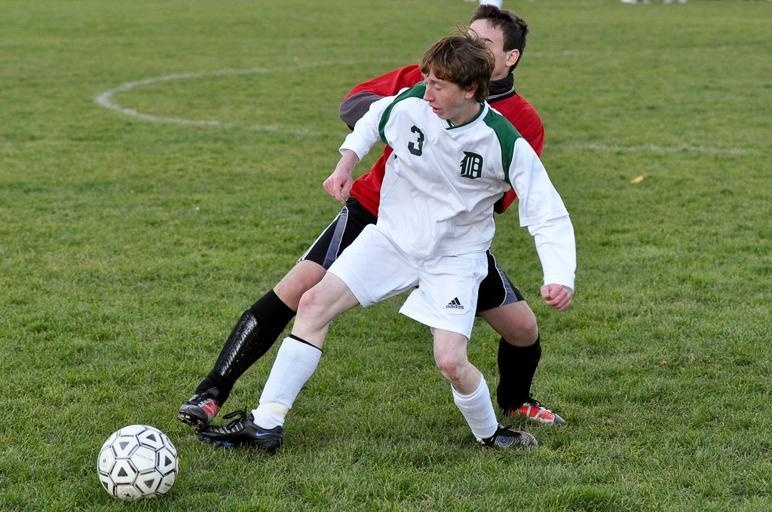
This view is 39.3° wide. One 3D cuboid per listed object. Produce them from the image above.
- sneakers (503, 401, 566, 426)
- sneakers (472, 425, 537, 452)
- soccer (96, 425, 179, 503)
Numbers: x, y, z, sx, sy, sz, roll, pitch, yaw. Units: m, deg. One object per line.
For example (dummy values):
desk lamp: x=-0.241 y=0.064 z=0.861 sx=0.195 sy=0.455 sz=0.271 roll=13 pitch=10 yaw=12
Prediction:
sneakers: x=1.267 y=1.357 z=9.160 sx=0.483 sy=0.187 sz=0.164 roll=-1 pitch=-5 yaw=19
sneakers: x=0.968 y=1.497 z=8.815 sx=0.502 sy=0.203 sz=0.184 roll=-4 pitch=-3 yaw=5
soccer: x=-1.926 y=1.605 z=8.342 sx=0.570 sy=0.547 sz=0.531 roll=-9 pitch=23 yaw=-16
